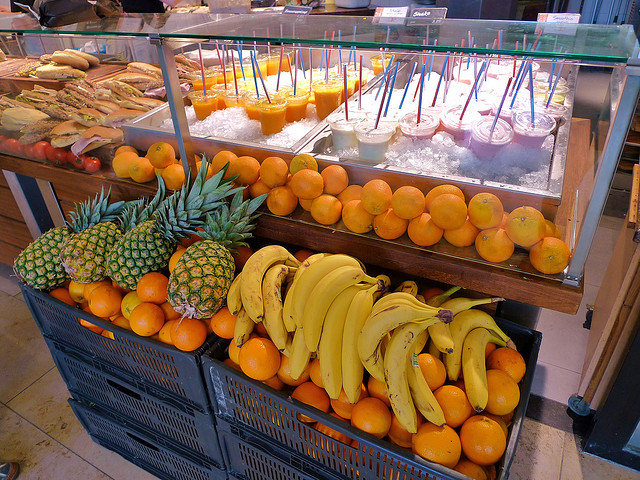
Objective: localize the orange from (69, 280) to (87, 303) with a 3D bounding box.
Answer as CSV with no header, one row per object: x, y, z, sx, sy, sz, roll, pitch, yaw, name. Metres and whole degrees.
-1.104,0.234,1.884,0.086,0.107,0.087,-1,0,-2,orange

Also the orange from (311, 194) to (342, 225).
0.024,-0.127,1.744,0.123,0.123,0.115,2,11,3,orange

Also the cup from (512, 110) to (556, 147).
0.931,-0.490,1.855,0.160,0.120,0.165,0,48,0,cup

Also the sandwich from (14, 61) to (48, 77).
-2.026,-1.191,2.912,0.185,0.042,0.126,-39,47,-22,sandwich

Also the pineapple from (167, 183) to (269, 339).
-0.451,0.057,1.723,0.225,0.222,0.552,5,65,15,pineapple

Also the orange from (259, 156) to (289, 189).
-0.211,-0.307,1.873,0.136,0.158,0.132,-5,12,-10,orange

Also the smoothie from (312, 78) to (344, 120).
0.037,-0.730,2.168,0.150,0.208,0.111,2,31,-1,smoothie

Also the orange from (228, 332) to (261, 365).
-0.283,0.440,1.632,0.116,0.144,0.117,14,11,-5,orange

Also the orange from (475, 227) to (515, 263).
0.646,0.021,1.574,0.130,0.136,0.128,15,-14,26,orange

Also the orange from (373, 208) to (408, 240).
0.281,-0.056,1.726,0.118,0.125,0.141,7,-1,-6,orange

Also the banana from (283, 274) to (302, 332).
-0.105,0.245,1.579,0.057,0.218,0.070,6,-5,44,banana

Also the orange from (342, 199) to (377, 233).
0.152,-0.090,1.745,0.138,0.109,0.104,29,-16,-11,orange

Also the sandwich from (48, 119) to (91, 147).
-1.413,-0.610,2.364,0.148,0.071,0.203,8,45,12,sandwich

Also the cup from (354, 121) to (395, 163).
0.236,-0.430,1.816,0.175,0.160,0.183,-1,38,1,cup

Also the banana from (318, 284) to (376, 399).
0.090,0.357,1.528,0.107,0.426,0.141,11,-9,18,banana

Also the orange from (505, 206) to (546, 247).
0.725,-0.046,1.493,0.133,0.167,0.141,2,69,21,orange

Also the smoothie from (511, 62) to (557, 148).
0.911,-0.535,1.786,0.144,0.300,0.133,21,65,47,smoothie

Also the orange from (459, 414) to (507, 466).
0.580,0.728,1.460,0.155,0.162,0.187,-13,55,29,orange

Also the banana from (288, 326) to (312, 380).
-0.076,0.425,1.567,0.069,0.220,0.070,7,5,-34,banana

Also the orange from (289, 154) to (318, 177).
-0.075,-0.337,1.865,0.094,0.093,0.095,-3,-10,14,orange

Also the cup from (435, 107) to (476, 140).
0.638,-0.566,1.953,0.158,0.136,0.217,14,34,18,cup

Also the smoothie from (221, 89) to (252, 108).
-0.488,-0.788,2.324,0.110,0.083,0.113,-4,41,-4,smoothie

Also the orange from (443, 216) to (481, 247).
0.552,-0.020,1.663,0.120,0.120,0.118,-13,63,-2,orange

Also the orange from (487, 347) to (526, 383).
0.716,0.468,1.587,0.127,0.122,0.122,-10,-9,-37,orange

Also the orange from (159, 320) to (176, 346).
-0.624,0.375,1.679,0.080,0.080,0.098,5,70,1,orange

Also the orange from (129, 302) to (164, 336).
-0.713,0.337,1.712,0.136,0.156,0.139,-1,-6,32,orange

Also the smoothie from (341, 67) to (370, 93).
0.200,-0.971,2.404,0.161,0.123,0.168,9,47,12,smoothie

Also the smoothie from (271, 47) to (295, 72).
-0.224,-1.162,2.671,0.170,0.150,0.176,6,42,5,smoothie

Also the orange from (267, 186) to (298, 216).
-0.158,-0.158,1.873,0.130,0.138,0.137,15,6,-14,orange

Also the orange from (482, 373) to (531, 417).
0.668,0.565,1.509,0.121,0.119,0.141,-11,-14,-31,orange

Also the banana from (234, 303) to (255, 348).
-0.291,0.325,1.638,0.057,0.191,0.061,2,-15,25,banana

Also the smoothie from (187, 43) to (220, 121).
-0.646,-0.831,2.282,0.152,0.330,0.148,-10,3,-10,smoothie

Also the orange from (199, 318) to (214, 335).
-0.461,0.347,1.665,0.041,0.050,0.042,35,78,35,orange

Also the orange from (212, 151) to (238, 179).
-0.450,-0.364,1.974,0.117,0.119,0.144,-2,62,-1,orange

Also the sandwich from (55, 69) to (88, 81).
-1.681,-1.103,2.785,0.159,0.056,0.164,0,21,-12,sandwich

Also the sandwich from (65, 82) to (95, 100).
-1.484,-0.935,2.568,0.207,0.058,0.106,38,38,17,sandwich

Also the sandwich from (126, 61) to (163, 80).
-1.187,-1.123,2.777,0.252,0.078,0.150,19,21,11,sandwich

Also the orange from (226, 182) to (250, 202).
-0.390,-0.221,1.953,0.088,0.086,0.105,1,45,-3,orange

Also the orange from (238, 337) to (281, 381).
-0.231,0.444,1.551,0.096,0.096,0.116,-40,40,14,orange

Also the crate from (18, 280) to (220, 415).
-0.880,0.493,1.801,0.760,0.262,0.546,25,29,11,crate

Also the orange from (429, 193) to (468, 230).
0.472,-0.102,1.574,0.133,0.136,0.126,-1,3,2,orange

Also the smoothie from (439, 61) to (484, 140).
0.667,-0.622,1.897,0.148,0.305,0.153,19,37,5,smoothie

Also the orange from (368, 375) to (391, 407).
0.204,0.547,1.541,0.092,0.093,0.093,5,11,-3,orange

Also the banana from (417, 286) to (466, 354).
0.447,0.307,1.533,0.307,0.114,0.072,-48,29,-22,banana

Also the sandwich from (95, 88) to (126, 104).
-1.267,-0.868,2.509,0.174,0.065,0.098,17,19,-8,sandwich

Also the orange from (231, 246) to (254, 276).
-0.340,0.097,1.843,0.105,0.127,0.106,-2,1,9,orange

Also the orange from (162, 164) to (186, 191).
-0.686,-0.293,2.007,0.115,0.120,0.119,-1,-13,41,orange

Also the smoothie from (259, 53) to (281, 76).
-0.293,-1.098,2.590,0.135,0.155,0.139,0,34,1,smoothie

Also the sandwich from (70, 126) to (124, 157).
-1.222,-0.545,2.295,0.231,0.079,0.163,-21,43,-17,sandwich

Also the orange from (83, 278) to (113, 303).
-1.014,0.217,1.916,0.127,0.108,0.107,8,12,-19,orange

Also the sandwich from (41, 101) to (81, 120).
-1.570,-0.778,2.549,0.220,0.060,0.118,13,54,8,sandwich

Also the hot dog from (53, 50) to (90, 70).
-1.747,-1.250,2.903,0.151,0.050,0.149,16,5,-33,hot dog
